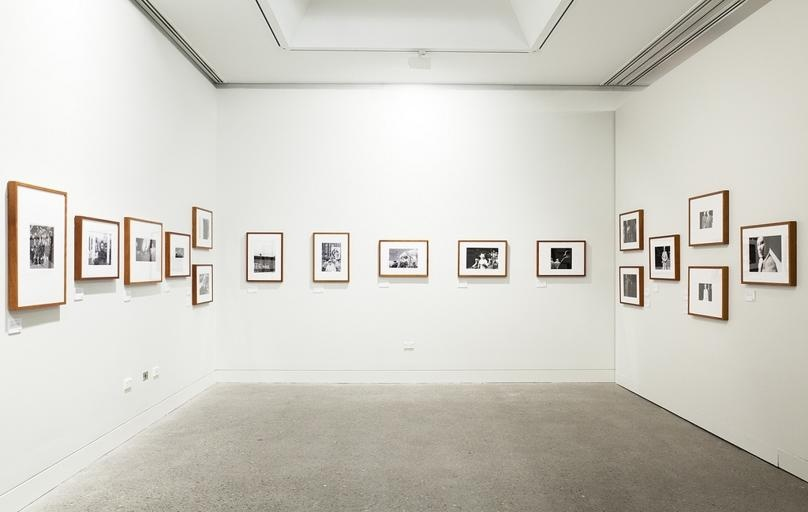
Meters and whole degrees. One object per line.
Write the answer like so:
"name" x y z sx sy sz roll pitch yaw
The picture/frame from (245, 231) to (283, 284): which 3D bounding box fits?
"picture/frame" -3.251 0.072 11.780 1.094 1.537 0.055 0 2 -1
